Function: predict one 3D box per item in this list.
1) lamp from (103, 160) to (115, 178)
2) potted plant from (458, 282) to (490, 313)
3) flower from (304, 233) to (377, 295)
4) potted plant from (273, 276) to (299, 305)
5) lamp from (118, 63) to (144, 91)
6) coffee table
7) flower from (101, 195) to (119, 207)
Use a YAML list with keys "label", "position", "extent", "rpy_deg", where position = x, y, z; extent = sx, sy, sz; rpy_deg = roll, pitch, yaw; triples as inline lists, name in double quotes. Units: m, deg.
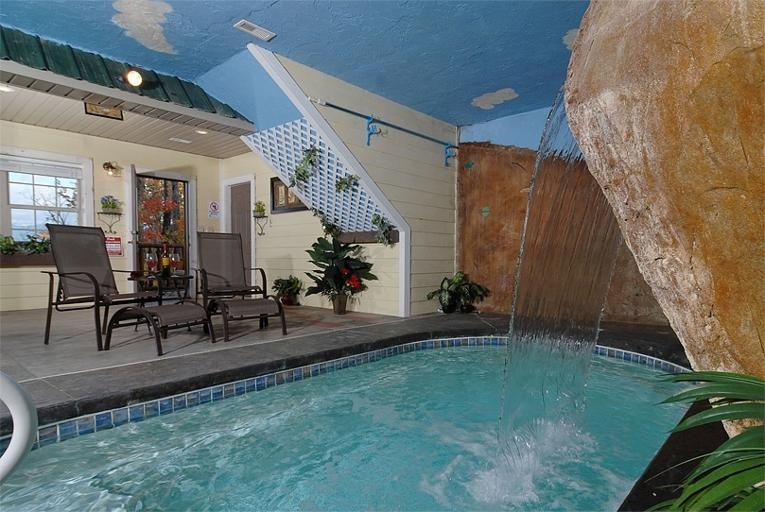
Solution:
- label: "lamp"
  position: [-4.976, -1.596, 8.166]
  extent: [0.098, 0.245, 0.212]
  rpy_deg: [10, 14, 34]
- label: "potted plant"
  position: [1.501, 0.691, 7.484]
  extent: [0.518, 0.449, 0.295]
  rpy_deg: [-5, 13, -30]
- label: "flower"
  position: [-0.647, 0.130, 7.251]
  extent: [1.170, 0.675, 1.078]
  rpy_deg: [0, -5, 20]
- label: "potted plant"
  position: [-1.706, 0.616, 8.124]
  extent: [0.579, 0.456, 0.573]
  rpy_deg: [-2, -3, 39]
- label: "lamp"
  position: [-3.110, -2.233, 5.564]
  extent: [0.252, 0.352, 0.316]
  rpy_deg: [-3, 12, -21]
- label: "coffee table"
  position: [-2.813, 0.596, 5.654]
  extent: [0.913, 0.454, 0.848]
  rpy_deg: [0, -2, -32]
- label: "flower"
  position: [-4.918, -0.990, 8.122]
  extent: [0.251, 0.213, 0.182]
  rpy_deg: [-2, 13, 41]
